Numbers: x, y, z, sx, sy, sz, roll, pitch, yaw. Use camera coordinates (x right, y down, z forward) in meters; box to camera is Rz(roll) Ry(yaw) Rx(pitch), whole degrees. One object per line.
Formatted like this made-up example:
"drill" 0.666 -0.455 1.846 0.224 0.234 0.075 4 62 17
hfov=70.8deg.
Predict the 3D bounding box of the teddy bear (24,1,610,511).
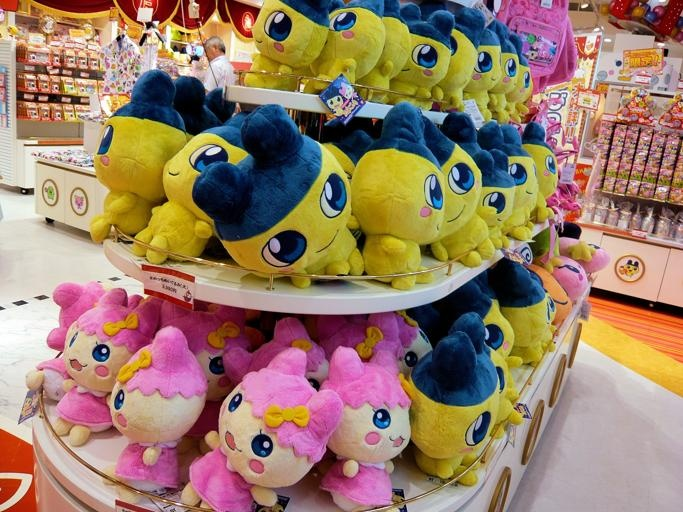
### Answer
"teddy bear" 0.126 -0.024 2.049 1.205 1.542 2.337 15 25 26
